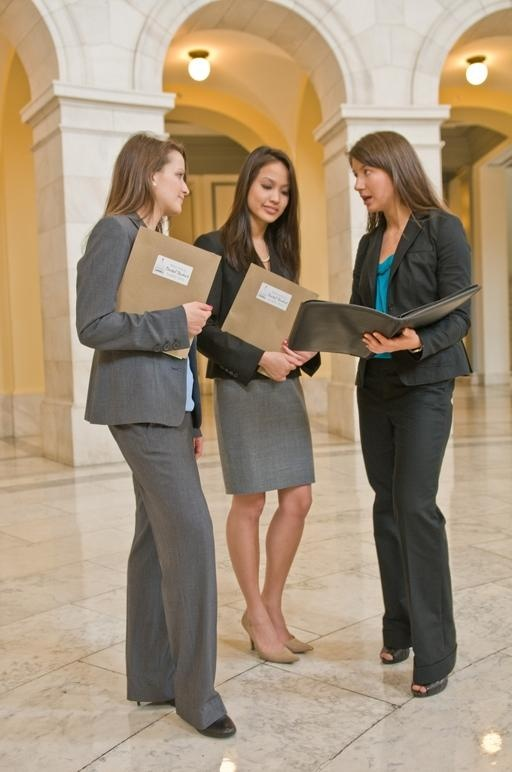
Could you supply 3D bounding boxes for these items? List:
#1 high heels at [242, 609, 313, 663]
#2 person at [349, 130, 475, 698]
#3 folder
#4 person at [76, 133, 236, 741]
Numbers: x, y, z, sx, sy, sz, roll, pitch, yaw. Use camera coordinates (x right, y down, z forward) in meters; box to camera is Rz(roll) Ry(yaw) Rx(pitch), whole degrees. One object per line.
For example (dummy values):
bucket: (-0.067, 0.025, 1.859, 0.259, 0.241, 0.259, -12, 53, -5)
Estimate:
high heels: (0.077, 0.873, 2.320, 0.226, 0.107, 0.127, -2, -3, 34)
person: (0.511, 0.059, 2.092, 0.364, 1.769, 0.557, -4, 3, 8)
folder: (0.341, -0.175, 1.859, 0.467, 0.177, 0.342, -5, 3, -25)
person: (-0.283, 0.136, 1.803, 0.345, 1.636, 0.394, -5, 3, -15)
